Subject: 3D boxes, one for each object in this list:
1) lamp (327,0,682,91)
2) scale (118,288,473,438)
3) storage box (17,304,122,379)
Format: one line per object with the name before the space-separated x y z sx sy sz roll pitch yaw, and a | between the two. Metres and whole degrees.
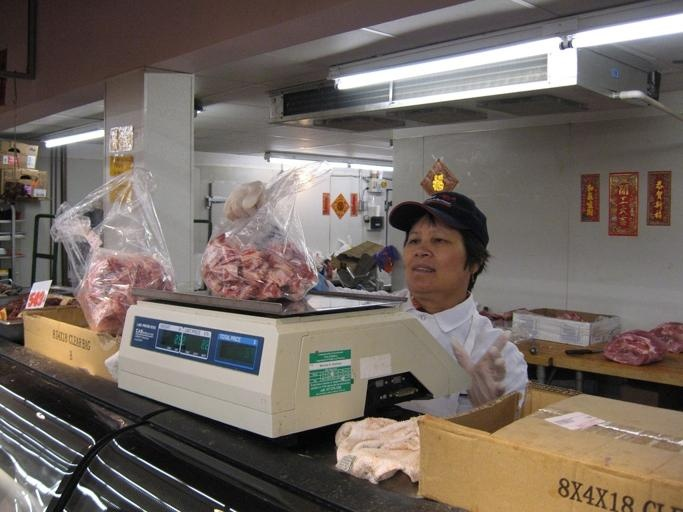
lamp | 0.867 -1.179 2.939 1.966 0.214 0.237 1 3 42
scale | -0.164 0.253 1.361 0.697 0.258 0.663 0 -1 36
storage box | -0.953 0.317 1.813 0.315 0.090 0.340 20 -4 -32
